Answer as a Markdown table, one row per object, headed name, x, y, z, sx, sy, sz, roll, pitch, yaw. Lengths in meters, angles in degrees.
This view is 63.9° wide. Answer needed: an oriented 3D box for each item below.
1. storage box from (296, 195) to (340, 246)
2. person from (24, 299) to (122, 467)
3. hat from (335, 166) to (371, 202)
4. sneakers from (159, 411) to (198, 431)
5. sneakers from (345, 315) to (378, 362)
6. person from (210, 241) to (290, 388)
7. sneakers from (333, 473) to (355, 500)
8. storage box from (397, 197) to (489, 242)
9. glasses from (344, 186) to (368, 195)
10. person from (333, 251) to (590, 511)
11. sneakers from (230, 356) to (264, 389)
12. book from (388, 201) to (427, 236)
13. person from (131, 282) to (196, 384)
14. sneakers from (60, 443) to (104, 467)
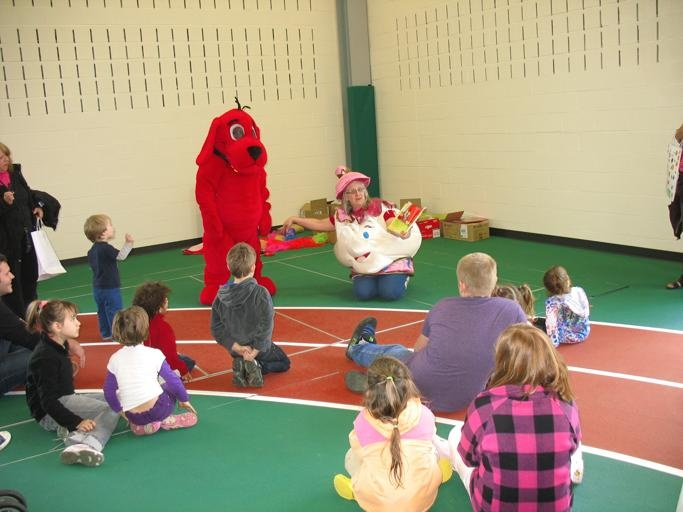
| name | x | y | z | sx | sy | sz | roll | pitch | yaw |
| --- | --- | --- | --- | --- | --- | --- | --- | --- | --- |
| storage box | -0.457 | -0.710 | 10.499 | 0.834 | 0.556 | 0.833 | -5 | 7 | -40 |
| person | -1.907 | 0.832 | 3.999 | 0.750 | 0.978 | 1.284 | 1 | 8 | -23 |
| hat | 0.105 | -0.974 | 6.564 | 0.458 | 0.289 | 0.368 | -15 | 21 | 9 |
| sneakers | -1.166 | 1.189 | 3.960 | 0.276 | 0.105 | 0.114 | -10 | -5 | -7 |
| sneakers | 0.199 | 0.688 | 4.696 | 0.159 | 0.492 | 0.203 | 30 | -15 | -20 |
| person | -0.736 | 0.491 | 4.388 | 0.628 | 1.183 | 0.372 | -6 | 13 | -15 |
| sneakers | 0.007 | 1.192 | 2.807 | 0.072 | 0.116 | 0.134 | -10 | 15 | -30 |
| storage box | 1.749 | -0.525 | 9.326 | 1.363 | 0.678 | 0.808 | 10 | 16 | 33 |
| glasses | 0.165 | -0.785 | 6.449 | 0.280 | 0.077 | 0.189 | -5 | 13 | -9 |
| person | 0.673 | 0.628 | 3.953 | 1.664 | 1.248 | 1.231 | -1 | 22 | -3 |
| sneakers | -0.769 | 0.954 | 4.454 | 0.178 | 0.289 | 0.100 | -3 | 11 | 16 |
| book | 0.779 | -0.393 | 6.448 | 0.316 | 0.431 | 0.150 | 31 | -2 | 37 |
| person | -1.508 | 0.662 | 4.601 | 0.511 | 0.926 | 0.538 | 5 | 4 | -20 |
| sneakers | -1.686 | 1.287 | 3.584 | 0.270 | 0.147 | 0.131 | 4 | 1 | 9 |
